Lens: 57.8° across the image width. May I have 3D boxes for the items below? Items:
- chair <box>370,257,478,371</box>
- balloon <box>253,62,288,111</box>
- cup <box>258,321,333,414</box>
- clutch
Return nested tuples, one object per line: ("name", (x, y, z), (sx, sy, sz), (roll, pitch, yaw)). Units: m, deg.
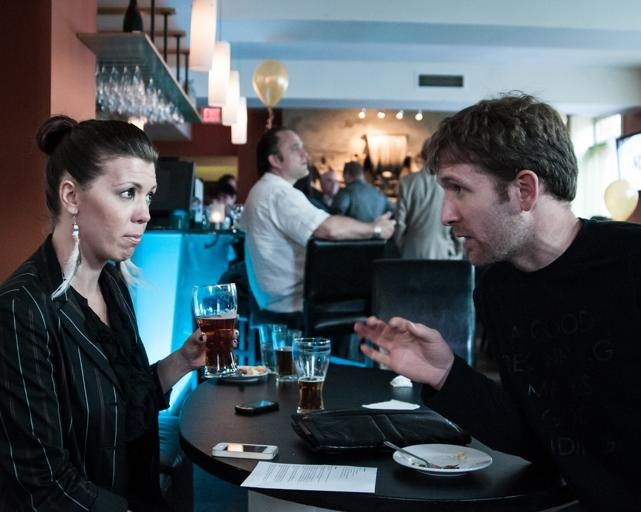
("chair", (0.393, 0.263, 2.525), (0.421, 0.753, 0.445), (2, -8, 0))
("balloon", (-0.481, -1.689, 5.625), (0.314, 0.468, 0.315), (0, 7, 11))
("cup", (-0.053, 0.336, 1.664), (0.166, 0.285, 0.198), (0, 4, 1))
("clutch", (0.141, 0.407, 1.349), (0.212, 0.037, 0.152), (0, 4, -8))
